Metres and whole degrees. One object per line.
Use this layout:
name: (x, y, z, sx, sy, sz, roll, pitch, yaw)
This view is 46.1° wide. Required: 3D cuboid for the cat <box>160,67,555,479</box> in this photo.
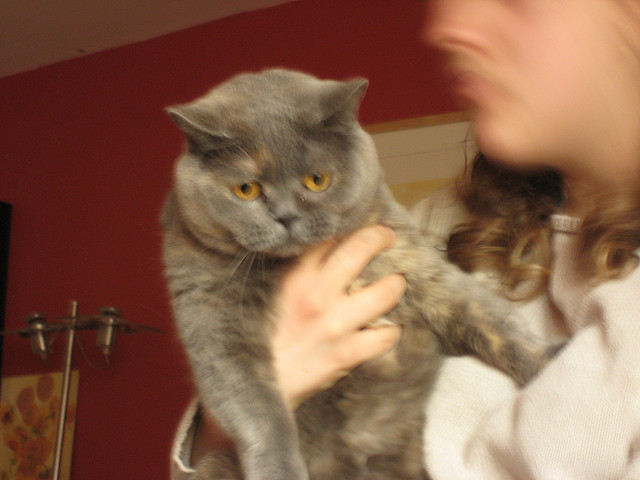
cat: (0.009, 0.098, 2.089, 1.038, 1.108, 0.532, -10, 17, 7)
